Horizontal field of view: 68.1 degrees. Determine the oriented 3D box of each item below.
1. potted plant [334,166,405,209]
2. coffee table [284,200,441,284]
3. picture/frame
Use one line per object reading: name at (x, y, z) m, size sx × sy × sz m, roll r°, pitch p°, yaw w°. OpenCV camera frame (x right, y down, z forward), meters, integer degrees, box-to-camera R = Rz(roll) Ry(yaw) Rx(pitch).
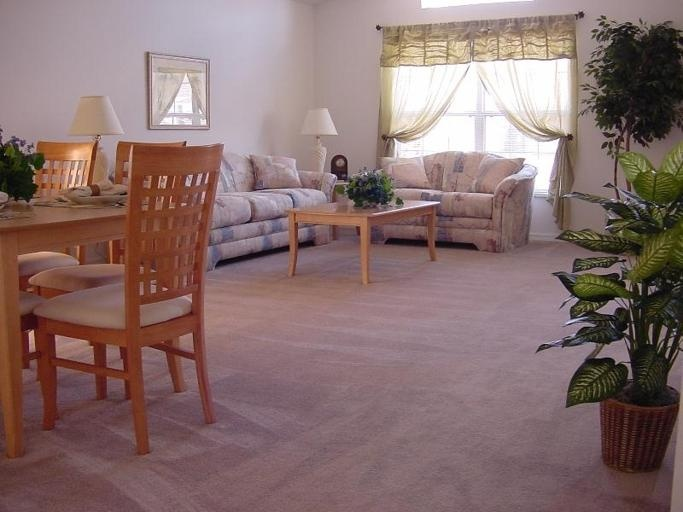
potted plant at (0.281, -0.642, 5.211) m, size 0.475 × 0.348 × 0.546 m, roll 1°, pitch 5°, yaw 29°
coffee table at (0.252, -0.219, 5.388) m, size 0.940 × 0.705 × 1.682 m, roll 5°, pitch 12°, yaw 37°
picture/frame at (-2.060, -2.065, 6.219) m, size 0.070 × 0.905 × 1.029 m, roll 4°, pitch 7°, yaw 24°
